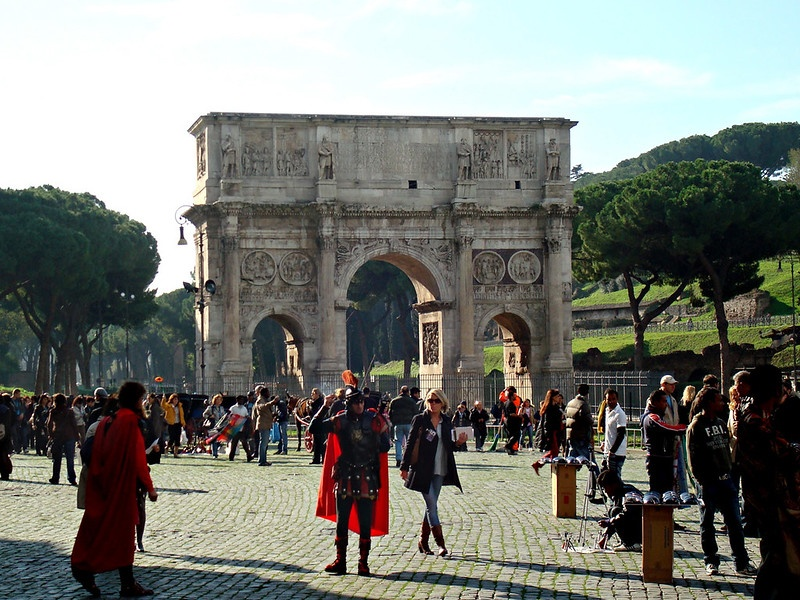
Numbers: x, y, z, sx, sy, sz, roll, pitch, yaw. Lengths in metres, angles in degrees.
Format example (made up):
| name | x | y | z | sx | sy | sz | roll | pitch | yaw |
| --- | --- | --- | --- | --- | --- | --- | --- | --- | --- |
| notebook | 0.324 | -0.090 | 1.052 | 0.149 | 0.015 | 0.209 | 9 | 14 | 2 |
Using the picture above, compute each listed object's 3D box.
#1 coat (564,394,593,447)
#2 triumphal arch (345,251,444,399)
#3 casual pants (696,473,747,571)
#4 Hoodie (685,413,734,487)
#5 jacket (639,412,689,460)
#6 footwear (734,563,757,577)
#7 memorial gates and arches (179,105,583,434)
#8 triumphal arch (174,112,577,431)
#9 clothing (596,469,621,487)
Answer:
| name | x | y | z | sx | sy | sz | roll | pitch | yaw |
| --- | --- | --- | --- | --- | --- | --- | --- | --- | --- |
| coat | 3.748 | 2.459 | 27.753 | 0.538 | 1.038 | 0.748 | 4 | -3 | -23 |
| triumphal arch | -1.341 | -0.767 | 96.112 | 7.198 | 13.937 | 7.669 | -1 | -2 | -1 |
| casual pants | 5.358 | 3.643 | 22.004 | 0.755 | 1.458 | 0.765 | -2 | -5 | 13 |
| Hoodie | 5.201 | 2.430 | 22.371 | 0.890 | 1.206 | 0.622 | -5 | -5 | -38 |
| jacket | 4.855 | 2.414 | 24.135 | 0.826 | 0.871 | 0.779 | 1 | -9 | -24 |
| footwear | 5.623 | 4.348 | 21.614 | 0.147 | 0.148 | 0.346 | 5 | -12 | -22 |
| memorial gates and arches | -0.445 | -1.343 | 50.094 | 12.860 | 8.739 | 4.208 | 0 | -1 | -16 |
| triumphal arch | -0.118 | -1.561 | 53.448 | 16.681 | 11.368 | 5.064 | 0 | -1 | 3 |
| clothing | 3.780 | 3.165 | 24.010 | 0.343 | 0.333 | 0.277 | -22 | 12 | -6 |
